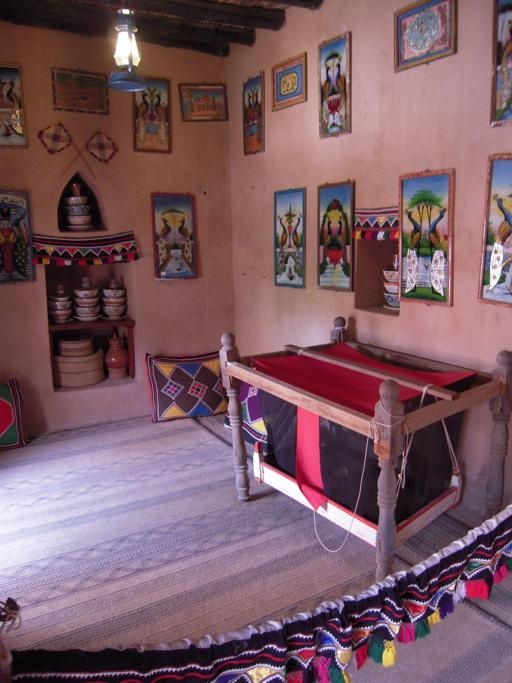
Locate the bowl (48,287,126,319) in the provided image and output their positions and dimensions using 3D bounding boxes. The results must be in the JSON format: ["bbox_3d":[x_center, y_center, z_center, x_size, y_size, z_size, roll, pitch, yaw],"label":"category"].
[{"bbox_3d":[-1.499,-0.340,4.374,0.484,0.224,0.332,-3,13,-25],"label":"bowl"}]

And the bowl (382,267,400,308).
[{"bbox_3d":[0.893,-0.353,3.285,0.097,0.248,0.329,0,10,14],"label":"bowl"}]

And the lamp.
[{"bbox_3d":[-0.675,-1.534,2.535,0.169,0.425,0.323,-5,10,-16],"label":"lamp"}]

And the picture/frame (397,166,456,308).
[{"bbox_3d":[0.923,-0.567,2.716,0.049,0.710,0.360,-8,11,-30],"label":"picture/frame"}]

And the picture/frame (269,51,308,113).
[{"bbox_3d":[0.247,-1.927,3.620,0.037,0.455,0.520,-7,12,-29],"label":"picture/frame"}]

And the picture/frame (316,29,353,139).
[{"bbox_3d":[0.512,-1.662,3.221,0.041,0.608,0.342,-7,11,-27],"label":"picture/frame"}]

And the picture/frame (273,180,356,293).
[{"bbox_3d":[0.439,-0.773,3.547,0.087,0.767,0.808,-5,10,-32],"label":"picture/frame"}]

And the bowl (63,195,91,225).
[{"bbox_3d":[-1.469,-1.093,4.085,0.190,0.201,0.223,-1,7,-4],"label":"bowl"}]

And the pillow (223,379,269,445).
[{"bbox_3d":[-0.055,0.496,3.509,0.108,0.452,0.356,2,-5,-27],"label":"pillow"}]

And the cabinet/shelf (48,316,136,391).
[{"bbox_3d":[-1.504,0.067,4.526,0.724,0.573,0.707,-7,11,-24],"label":"cabinet/shelf"}]

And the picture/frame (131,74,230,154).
[{"bbox_3d":[-0.636,-1.939,4.237,0.867,0.620,0.044,-8,11,-27],"label":"picture/frame"}]

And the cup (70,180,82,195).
[{"bbox_3d":[-1.490,-1.279,4.118,0.103,0.173,0.108,1,8,0],"label":"cup"}]
